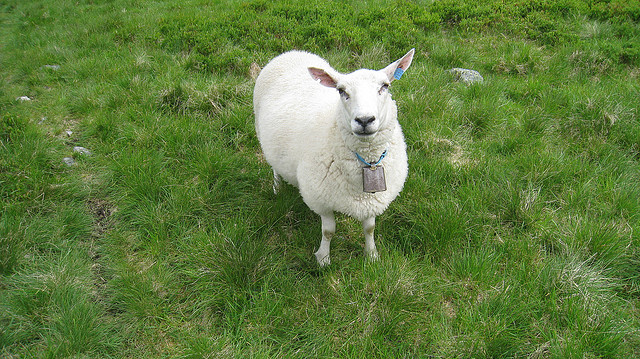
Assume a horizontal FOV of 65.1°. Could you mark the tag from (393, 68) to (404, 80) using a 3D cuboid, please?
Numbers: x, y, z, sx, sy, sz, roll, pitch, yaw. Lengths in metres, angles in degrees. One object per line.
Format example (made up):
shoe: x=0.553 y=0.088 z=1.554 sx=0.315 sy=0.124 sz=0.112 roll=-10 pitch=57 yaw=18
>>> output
tag: x=1.137 y=-1.546 z=7.332 sx=0.146 sy=0.146 sz=0.041 roll=3 pitch=-5 yaw=-6
